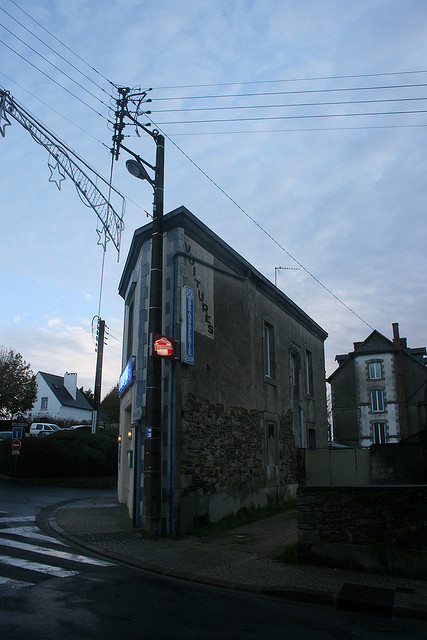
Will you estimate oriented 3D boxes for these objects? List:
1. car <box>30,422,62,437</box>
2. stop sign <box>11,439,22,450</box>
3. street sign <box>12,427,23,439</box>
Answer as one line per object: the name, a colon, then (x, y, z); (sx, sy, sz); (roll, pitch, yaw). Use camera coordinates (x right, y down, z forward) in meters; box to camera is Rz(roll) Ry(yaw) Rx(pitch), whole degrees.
car: (-10.301, 6.552, 32.232); (1.549, 0.986, 5.352); (5, -16, -18)
stop sign: (-6.943, 4.393, 18.743); (0.247, 0.340, 0.356); (6, -15, -24)
street sign: (-7.006, 4.043, 18.961); (0.271, 0.405, 0.406); (8, -16, -31)
